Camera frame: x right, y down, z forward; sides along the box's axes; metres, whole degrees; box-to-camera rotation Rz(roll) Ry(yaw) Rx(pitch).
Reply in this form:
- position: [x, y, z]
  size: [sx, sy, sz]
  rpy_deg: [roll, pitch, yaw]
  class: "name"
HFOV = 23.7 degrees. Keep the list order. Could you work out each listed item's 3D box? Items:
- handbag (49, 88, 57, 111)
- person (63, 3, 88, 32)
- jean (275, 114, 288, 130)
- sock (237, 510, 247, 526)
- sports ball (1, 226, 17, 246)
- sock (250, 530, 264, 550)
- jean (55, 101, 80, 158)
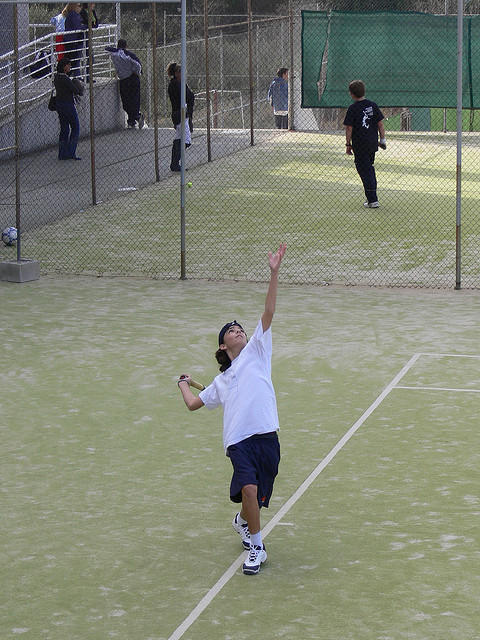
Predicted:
- position: [-3.185, -3.761, 19.522]
  size: [0.134, 0.308, 0.447]
  rpy_deg: [-3, 13, -9]
  class: "handbag"
- position: [-3.062, -5.642, 21.219]
  size: [0.414, 0.500, 1.336]
  rpy_deg: [-3, 13, -8]
  class: "person"
- position: [0.984, -4.715, 27.043]
  size: [0.444, 0.447, 0.027]
  rpy_deg: [15, -29, -43]
  class: "jean"
- position: [0.001, 0.949, 5.396]
  size: [0.055, 0.045, 0.054]
  rpy_deg: [-29, 47, -32]
  class: "sock"
- position: [-2.887, -1.036, 14.324]
  size: [0.177, 0.239, 0.261]
  rpy_deg: [-5, 14, -16]
  class: "sports ball"
- position: [0.073, 1.005, 5.153]
  size: [0.036, 0.100, 0.072]
  rpy_deg: [-16, 26, 0]
  class: "sock"
- position: [-2.995, -3.315, 19.845]
  size: [0.369, 1.003, 0.853]
  rpy_deg: [-3, 14, -9]
  class: "jean"
